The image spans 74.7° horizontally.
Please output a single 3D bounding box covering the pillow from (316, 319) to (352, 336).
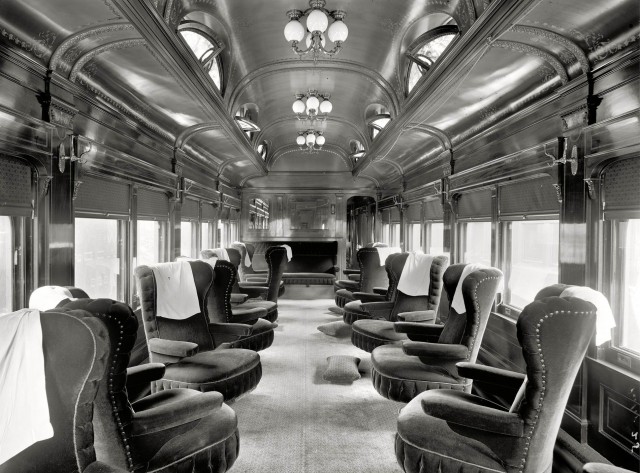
[{"bbox_3d":[0.232,1.494,6.713,0.510,0.105,0.801,-2,6,-7],"label":"pillow"}]

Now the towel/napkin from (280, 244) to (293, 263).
[{"bbox_3d":[-0.641,0.389,8.966,0.359,0.424,0.188,0,42,3],"label":"towel/napkin"}]

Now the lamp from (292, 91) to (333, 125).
[{"bbox_3d":[-0.134,-2.139,6.847,0.637,0.675,0.433,2,-1,10],"label":"lamp"}]

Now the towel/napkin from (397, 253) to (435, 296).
[{"bbox_3d":[1.205,0.500,5.195,0.388,0.526,0.202,4,-8,38],"label":"towel/napkin"}]

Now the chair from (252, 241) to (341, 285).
[{"bbox_3d":[-0.343,0.792,10.877,1.646,1.096,0.922,0,0,3],"label":"chair"}]

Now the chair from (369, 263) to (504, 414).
[{"bbox_3d":[1.058,0.885,3.984,1.098,1.264,1.002,4,2,-18],"label":"chair"}]

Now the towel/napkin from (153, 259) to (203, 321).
[{"bbox_3d":[-1.381,0.554,4.001,0.072,0.731,0.529,-27,-16,38],"label":"towel/napkin"}]

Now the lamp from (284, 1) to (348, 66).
[{"bbox_3d":[-0.044,-2.106,4.293,0.747,0.677,0.771,-2,14,-4],"label":"lamp"}]

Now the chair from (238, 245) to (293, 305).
[{"bbox_3d":[-0.978,0.700,7.116,0.868,1.080,0.785,2,-1,-1],"label":"chair"}]

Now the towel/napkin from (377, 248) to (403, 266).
[{"bbox_3d":[1.171,0.311,7.121,0.487,0.356,0.275,2,-11,-11],"label":"towel/napkin"}]

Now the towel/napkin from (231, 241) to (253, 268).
[{"bbox_3d":[-1.599,0.371,8.620,0.381,0.696,0.321,-4,14,23],"label":"towel/napkin"}]

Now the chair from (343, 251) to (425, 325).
[{"bbox_3d":[0.997,0.736,5.602,0.977,1.193,0.834,8,-5,-21],"label":"chair"}]

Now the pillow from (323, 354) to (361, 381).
[{"bbox_3d":[0.276,1.573,4.940,0.418,0.111,0.630,-1,6,4],"label":"pillow"}]

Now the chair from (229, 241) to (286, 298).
[{"bbox_3d":[-1.126,0.687,6.928,0.759,0.973,0.837,-2,15,16],"label":"chair"}]

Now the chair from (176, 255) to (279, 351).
[{"bbox_3d":[-0.905,0.818,4.748,0.803,0.939,0.707,12,1,-10],"label":"chair"}]

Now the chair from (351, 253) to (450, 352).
[{"bbox_3d":[0.949,0.828,5.083,1.005,1.209,0.887,4,-1,-23],"label":"chair"}]

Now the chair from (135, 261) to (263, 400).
[{"bbox_3d":[-1.134,0.898,4.004,1.022,1.277,0.978,-4,-1,32],"label":"chair"}]

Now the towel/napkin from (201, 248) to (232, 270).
[{"bbox_3d":[-1.538,0.369,6.138,0.386,0.470,0.427,-2,-20,-6],"label":"towel/napkin"}]

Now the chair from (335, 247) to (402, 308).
[{"bbox_3d":[0.794,0.817,7.315,0.874,1.033,0.784,-3,-12,42],"label":"chair"}]
